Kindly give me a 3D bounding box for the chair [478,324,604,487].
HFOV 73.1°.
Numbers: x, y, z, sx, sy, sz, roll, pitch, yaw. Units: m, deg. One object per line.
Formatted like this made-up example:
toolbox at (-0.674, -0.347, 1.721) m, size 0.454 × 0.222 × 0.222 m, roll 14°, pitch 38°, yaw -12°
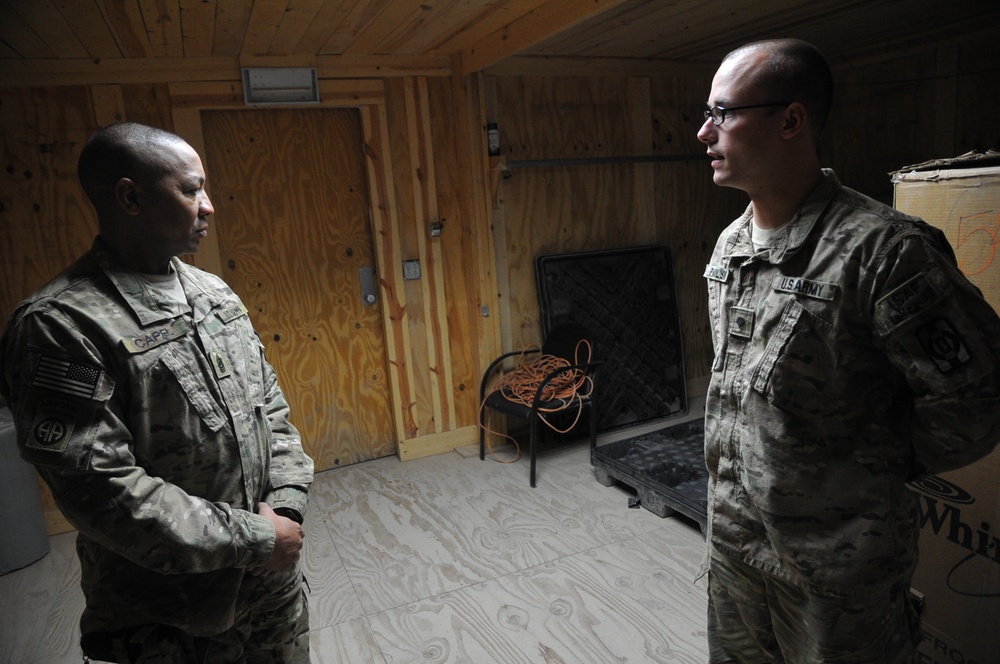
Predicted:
chair at (0.293, 0.491, 5.164) m, size 0.936 × 0.968 × 0.958 m, roll -8°, pitch 14°, yaw -16°
